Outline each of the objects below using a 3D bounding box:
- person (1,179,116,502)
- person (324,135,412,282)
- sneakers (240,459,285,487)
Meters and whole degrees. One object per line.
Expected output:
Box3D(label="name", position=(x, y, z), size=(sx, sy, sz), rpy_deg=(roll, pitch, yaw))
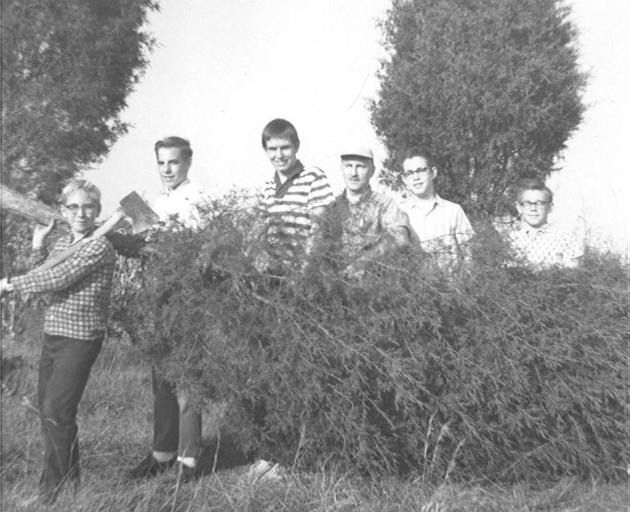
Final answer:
Box3D(label="person", position=(-2.030, 0.607, 5.517), size=(0.760, 2.565, 0.572), rpy_deg=(-2, -12, 4))
Box3D(label="person", position=(0.327, -0.414, 5.751), size=(0.749, 1.217, 0.693), rpy_deg=(-2, 4, 5))
Box3D(label="sneakers", position=(-0.427, 1.772, 5.571), size=(0.232, 0.121, 0.204), rpy_deg=(-5, 6, -25))
